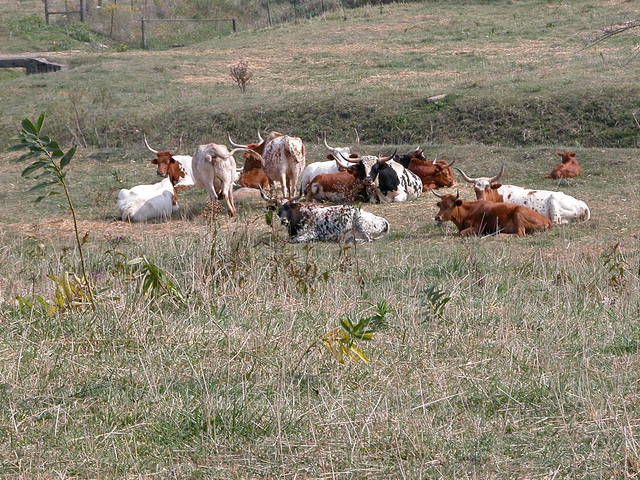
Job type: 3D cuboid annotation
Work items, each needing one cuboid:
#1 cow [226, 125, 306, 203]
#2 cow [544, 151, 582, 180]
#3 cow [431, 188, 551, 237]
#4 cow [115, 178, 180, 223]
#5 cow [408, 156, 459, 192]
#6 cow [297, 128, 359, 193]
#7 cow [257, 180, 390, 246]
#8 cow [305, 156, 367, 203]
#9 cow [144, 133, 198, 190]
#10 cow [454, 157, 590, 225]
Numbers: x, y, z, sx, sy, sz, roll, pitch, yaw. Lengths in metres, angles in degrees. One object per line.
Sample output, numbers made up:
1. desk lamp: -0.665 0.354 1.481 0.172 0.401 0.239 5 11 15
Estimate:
1. cow: -1.054 -1.718 23.929 1.253 1.577 2.712 -2 8 -28
2. cow: 5.652 -1.689 23.763 0.607 0.536 1.177 3 24 28
3. cow: 3.351 -0.624 19.884 2.174 1.045 0.904 5 6 24
4. cow: -3.644 -0.853 22.170 0.771 0.460 1.110 8 19 20
5. cow: 2.711 -1.511 24.646 1.281 0.664 0.664 12 13 10
6. cow: 0.225 -1.618 24.482 0.872 1.638 1.985 3 -6 -28
7. cow: 0.153 -0.417 20.051 2.509 1.283 0.893 4 8 5
8. cow: 0.405 -1.790 24.700 0.803 1.583 2.035 -1 1 -13
9. cow: -3.429 -1.812 24.340 0.973 1.475 2.771 -3 15 -6
10. cow: 4.243 -0.867 20.892 2.601 1.431 1.010 16 13 26
